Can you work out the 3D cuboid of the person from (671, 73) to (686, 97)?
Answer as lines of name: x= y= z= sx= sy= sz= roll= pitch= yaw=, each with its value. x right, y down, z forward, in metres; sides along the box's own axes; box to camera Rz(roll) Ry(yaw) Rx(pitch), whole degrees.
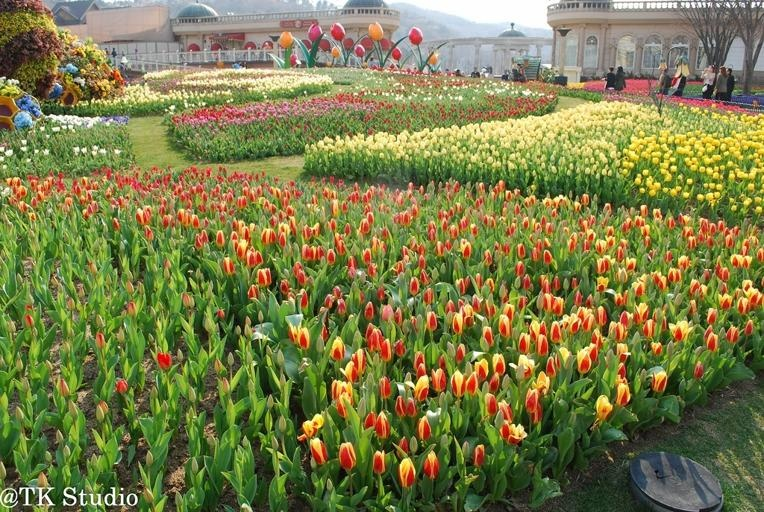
person: x=9.807 y=-5.649 z=21.666 sx=0.321 sy=0.823 sz=2.046 roll=7 pitch=24 yaw=22

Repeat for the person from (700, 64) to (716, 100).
person: x=10.414 y=-5.575 z=20.883 sx=0.361 sy=1.027 sz=1.604 roll=8 pitch=23 yaw=24

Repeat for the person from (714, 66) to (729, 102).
person: x=10.095 y=-5.115 z=19.455 sx=0.355 sy=0.927 sz=1.105 roll=9 pitch=23 yaw=26
